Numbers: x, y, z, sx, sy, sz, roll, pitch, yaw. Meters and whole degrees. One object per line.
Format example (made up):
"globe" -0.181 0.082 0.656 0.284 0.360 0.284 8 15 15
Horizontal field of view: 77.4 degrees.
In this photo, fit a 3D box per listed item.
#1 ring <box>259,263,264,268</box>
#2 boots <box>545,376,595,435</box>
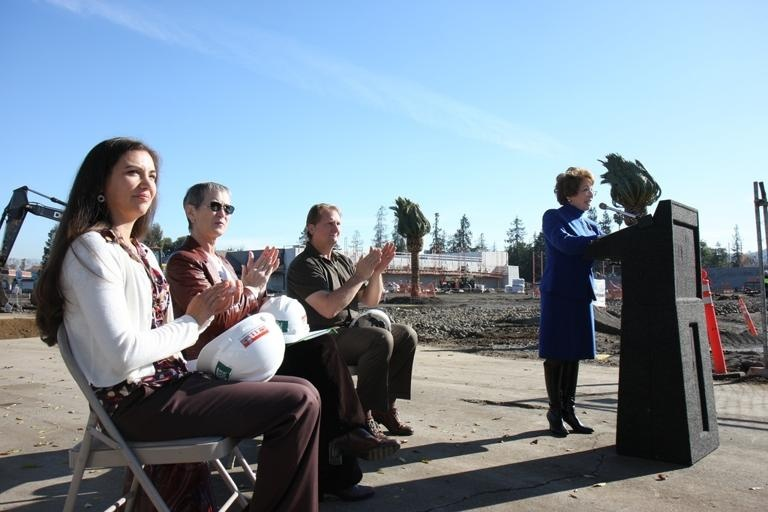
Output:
"ring" -0.937 0.073 3.653 0.038 0.039 0.022 -20 9 -17
"boots" 1.848 1.531 4.944 0.523 0.700 0.421 -8 -8 38
